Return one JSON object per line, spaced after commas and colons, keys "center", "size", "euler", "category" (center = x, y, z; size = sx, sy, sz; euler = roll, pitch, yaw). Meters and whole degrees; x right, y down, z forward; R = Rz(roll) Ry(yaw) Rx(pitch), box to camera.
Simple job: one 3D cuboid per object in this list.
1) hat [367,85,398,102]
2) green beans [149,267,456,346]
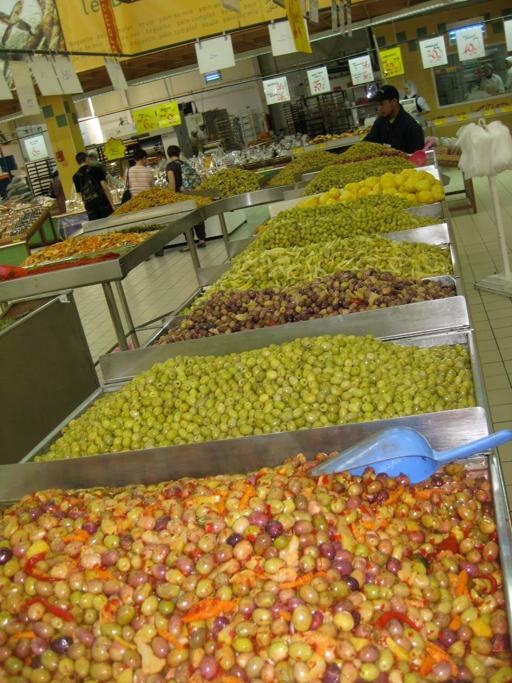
{"center": [1.490, -2.911, 6.001], "size": [0.294, 0.195, 0.424], "euler": [-5, 21, 19], "category": "hat"}
{"center": [0.205, -0.187, 2.378], "size": [1.351, 0.171, 0.369], "euler": [-6, 21, 15], "category": "green beans"}
